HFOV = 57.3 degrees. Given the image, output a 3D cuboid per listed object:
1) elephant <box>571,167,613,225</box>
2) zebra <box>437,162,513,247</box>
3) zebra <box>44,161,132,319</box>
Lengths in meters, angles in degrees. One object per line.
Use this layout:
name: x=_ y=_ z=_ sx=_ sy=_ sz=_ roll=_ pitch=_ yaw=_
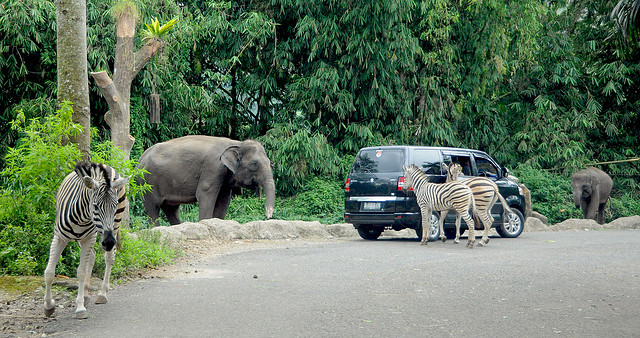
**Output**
elephant: x=14.348 y=1.518 z=30.912 sx=3.862 sy=2.802 sz=1.301 roll=3 pitch=-4 yaw=-41
zebra: x=5.472 y=1.280 z=22.742 sx=1.393 sy=3.535 sz=4.605 roll=-1 pitch=2 yaw=-21
zebra: x=-5.379 y=1.604 z=13.520 sx=1.829 sy=2.903 sz=0.801 roll=-3 pitch=-1 yaw=11
